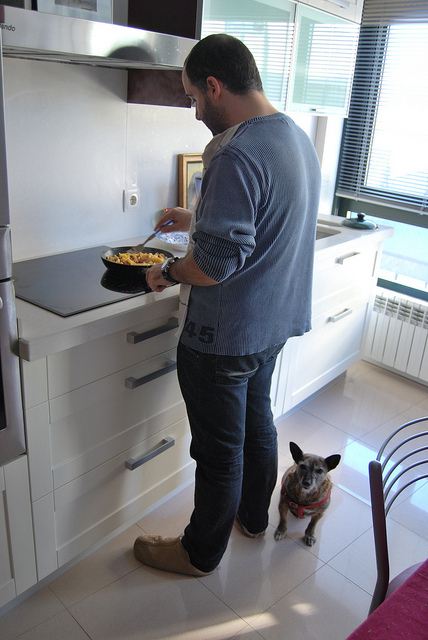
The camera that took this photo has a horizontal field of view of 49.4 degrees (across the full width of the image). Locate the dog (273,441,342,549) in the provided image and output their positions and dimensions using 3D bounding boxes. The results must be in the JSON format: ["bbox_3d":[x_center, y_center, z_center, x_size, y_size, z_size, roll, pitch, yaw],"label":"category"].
[{"bbox_3d":[0.326,0.621,1.743,0.187,0.372,0.494,10,0,7],"label":"dog"}]

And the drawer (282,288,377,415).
[{"bbox_3d":[0.558,0.167,2.291,0.523,0.350,0.292,-28,40,-36],"label":"drawer"}]

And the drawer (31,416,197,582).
[{"bbox_3d":[-0.338,0.523,1.616,0.268,0.280,0.767,14,16,33],"label":"drawer"}]

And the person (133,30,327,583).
[{"bbox_3d":[0.021,0.055,1.388,0.448,1.544,0.663,17,23,24],"label":"person"}]

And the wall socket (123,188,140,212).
[{"bbox_3d":[-0.347,-0.506,1.943,0.012,0.080,0.090,16,22,20],"label":"wall socket"}]

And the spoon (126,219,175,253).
[{"bbox_3d":[-0.256,-0.333,1.858,0.048,0.287,0.044,45,30,-13],"label":"spoon"}]
